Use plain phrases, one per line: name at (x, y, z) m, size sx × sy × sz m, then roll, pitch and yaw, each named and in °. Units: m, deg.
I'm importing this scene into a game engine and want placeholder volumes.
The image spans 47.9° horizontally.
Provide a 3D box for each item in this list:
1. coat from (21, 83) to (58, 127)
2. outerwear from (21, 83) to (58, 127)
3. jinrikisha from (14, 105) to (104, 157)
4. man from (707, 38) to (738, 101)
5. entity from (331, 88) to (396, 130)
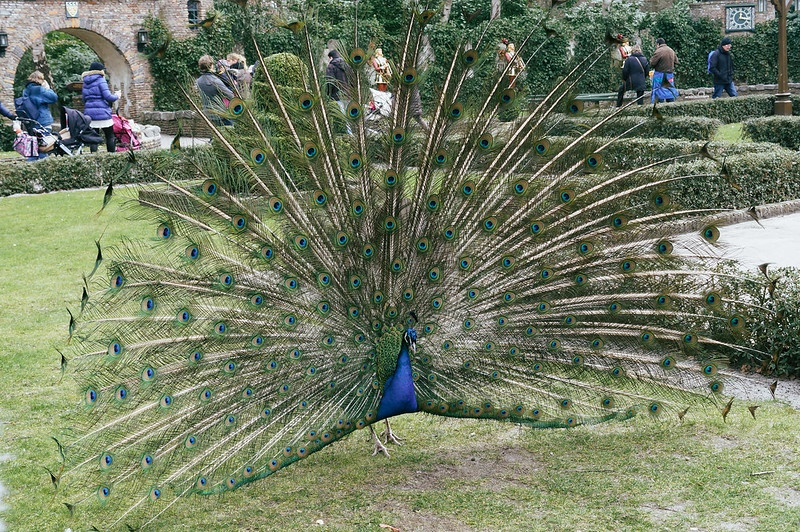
coat at (-8.801, -3.895, 21.882) m, size 0.871 × 1.149 × 0.761 m, roll 11°, pitch 23°, yaw 42°
outerwear at (-8.772, -3.910, 21.915) m, size 0.779 × 1.153 × 0.842 m, roll -18°, pitch 20°, yaw -37°
jinrikisha at (-8.215, -3.184, 21.919) m, size 2.012 × 1.351 × 1.238 m, roll -7°, pitch 12°, yaw -15°
man at (9.767, -5.837, 27.317) m, size 0.987 × 1.994 × 0.849 m, roll 1°, pitch 19°, yaw 29°
entity at (-0.237, -1.579, 9.059) m, size 0.463 × 0.464 × 0.192 m, roll 1°, pitch 42°, yaw -17°
